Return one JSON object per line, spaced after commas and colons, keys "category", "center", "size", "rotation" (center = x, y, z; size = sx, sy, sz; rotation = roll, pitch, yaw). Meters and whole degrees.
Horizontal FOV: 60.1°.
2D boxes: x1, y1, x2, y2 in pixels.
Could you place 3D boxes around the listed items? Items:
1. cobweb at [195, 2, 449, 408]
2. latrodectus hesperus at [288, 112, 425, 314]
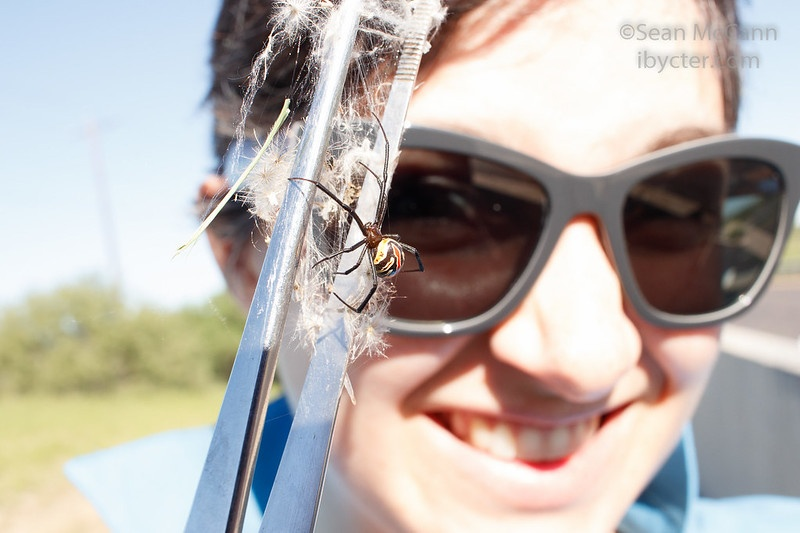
{"category": "cobweb", "center": [-0.054, -0.044, 1.369], "size": [0.409, 0.700, 0.653], "rotation": [-6, 57, -6]}
{"category": "latrodectus hesperus", "center": [-0.037, -0.043, 1.399], "size": [0.269, 0.375, 0.113], "rotation": [14, -1, 30]}
